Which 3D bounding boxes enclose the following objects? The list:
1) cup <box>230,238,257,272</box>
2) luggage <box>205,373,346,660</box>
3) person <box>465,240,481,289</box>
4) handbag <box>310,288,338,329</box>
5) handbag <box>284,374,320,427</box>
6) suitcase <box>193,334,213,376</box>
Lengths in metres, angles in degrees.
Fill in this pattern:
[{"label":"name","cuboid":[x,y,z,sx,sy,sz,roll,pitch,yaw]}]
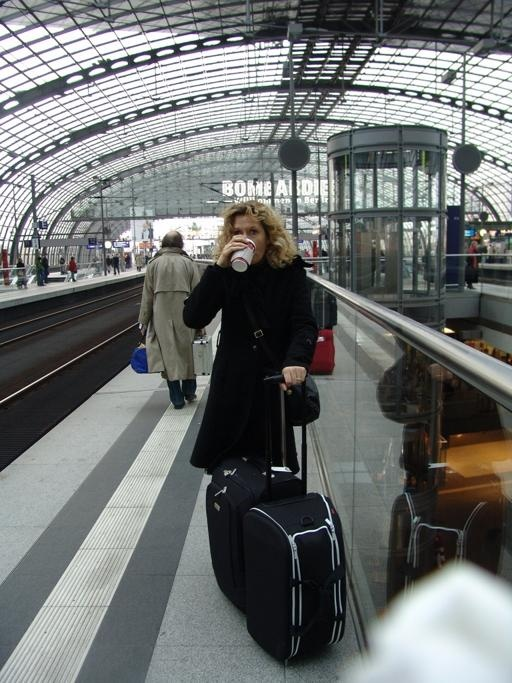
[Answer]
[{"label":"cup","cuboid":[-0.065,-0.397,2.193,0.088,0.138,0.114,-3,9,10]},{"label":"luggage","cuboid":[0.065,0.853,2.280,0.519,1.398,0.983,-2,12,-21]},{"label":"person","cuboid":[9.743,-3.457,21.453,0.576,2.086,1.357,-1,9,25]},{"label":"handbag","cuboid":[0.764,-0.342,5.301,0.267,0.477,0.293,-1,-15,-1]},{"label":"handbag","cuboid":[0.217,0.242,2.243,0.149,0.295,0.210,-4,3,8]},{"label":"suitcase","cuboid":[-0.696,0.179,6.066,0.168,0.493,0.493,0,4,4]}]
